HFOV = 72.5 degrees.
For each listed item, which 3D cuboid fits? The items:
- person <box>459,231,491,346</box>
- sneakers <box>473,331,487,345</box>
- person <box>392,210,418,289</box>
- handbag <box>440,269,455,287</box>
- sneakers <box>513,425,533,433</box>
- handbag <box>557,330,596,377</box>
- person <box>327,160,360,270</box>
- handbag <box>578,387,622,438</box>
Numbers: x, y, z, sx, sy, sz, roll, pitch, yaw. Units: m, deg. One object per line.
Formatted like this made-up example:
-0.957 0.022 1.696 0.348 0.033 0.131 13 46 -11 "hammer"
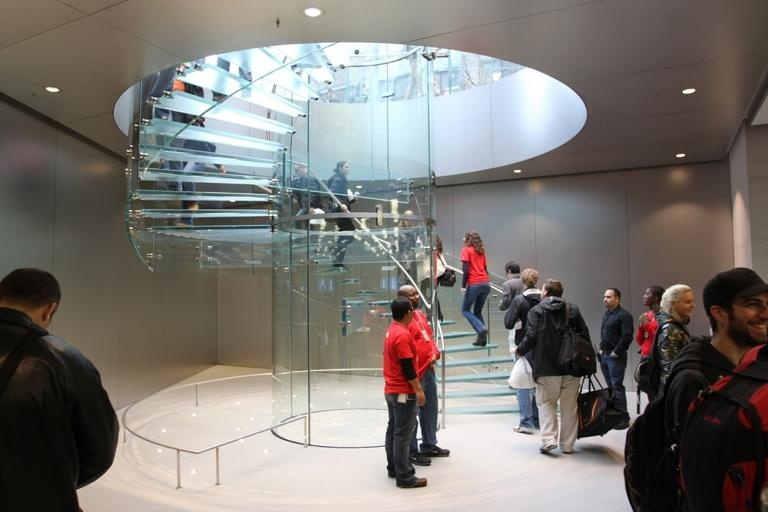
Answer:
1.505 0.538 8.660 0.445 1.865 0.417 -1 3 0 "person"
1.580 1.340 8.616 0.242 0.236 0.138 -1 3 -4 "sneakers"
0.300 -0.063 7.117 0.293 0.892 0.177 -1 3 -4 "person"
1.046 0.360 8.788 0.279 0.274 0.149 3 8 11 "handbag"
1.904 2.384 7.204 0.090 0.095 0.243 4 -1 -38 "sneakers"
2.260 1.176 6.230 0.536 0.525 0.290 4 -10 -35 "handbag"
-0.569 -0.573 7.054 0.389 1.430 0.131 -1 3 -5 "person"
2.536 1.864 6.171 0.497 0.584 0.253 0 3 23 "handbag"
